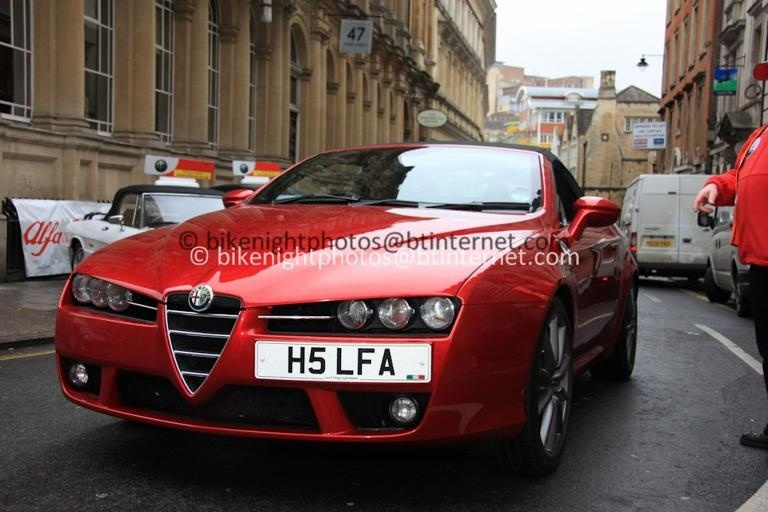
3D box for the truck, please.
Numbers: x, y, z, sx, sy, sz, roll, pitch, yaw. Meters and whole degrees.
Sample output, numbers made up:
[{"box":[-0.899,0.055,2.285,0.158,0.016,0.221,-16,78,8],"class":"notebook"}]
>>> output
[{"box":[7.625,-0.767,15.982,2.271,2.390,4.437,0,5,15],"class":"truck"}]
